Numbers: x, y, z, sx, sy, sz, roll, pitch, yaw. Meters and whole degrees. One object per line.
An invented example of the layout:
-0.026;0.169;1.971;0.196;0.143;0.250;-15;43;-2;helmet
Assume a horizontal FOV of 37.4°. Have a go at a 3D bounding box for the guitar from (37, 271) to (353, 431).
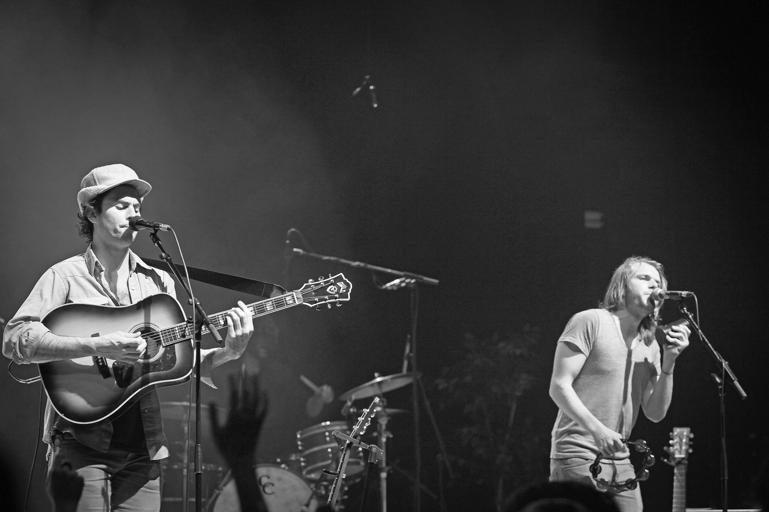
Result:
-1.518;0.692;9.435;2.638;0.915;0.256;-13;-3;-23;guitar
